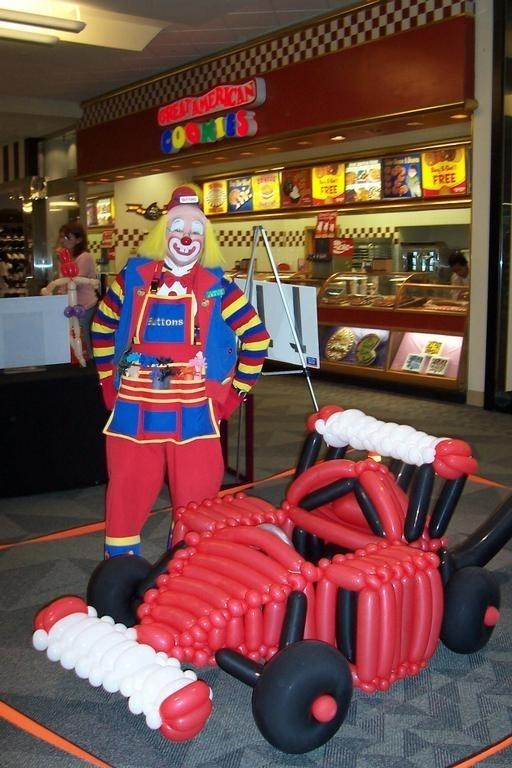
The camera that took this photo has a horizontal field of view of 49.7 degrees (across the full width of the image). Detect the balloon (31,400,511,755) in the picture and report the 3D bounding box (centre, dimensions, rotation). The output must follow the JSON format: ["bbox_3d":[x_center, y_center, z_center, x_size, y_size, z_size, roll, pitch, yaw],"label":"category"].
[{"bbox_3d":[0.156,0.490,1.450,1.236,0.449,0.730,-12,20,-36],"label":"balloon"}]

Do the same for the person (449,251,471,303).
[{"bbox_3d":[2.009,-1.074,5.501,0.179,0.541,0.952,0,6,19],"label":"person"}]
